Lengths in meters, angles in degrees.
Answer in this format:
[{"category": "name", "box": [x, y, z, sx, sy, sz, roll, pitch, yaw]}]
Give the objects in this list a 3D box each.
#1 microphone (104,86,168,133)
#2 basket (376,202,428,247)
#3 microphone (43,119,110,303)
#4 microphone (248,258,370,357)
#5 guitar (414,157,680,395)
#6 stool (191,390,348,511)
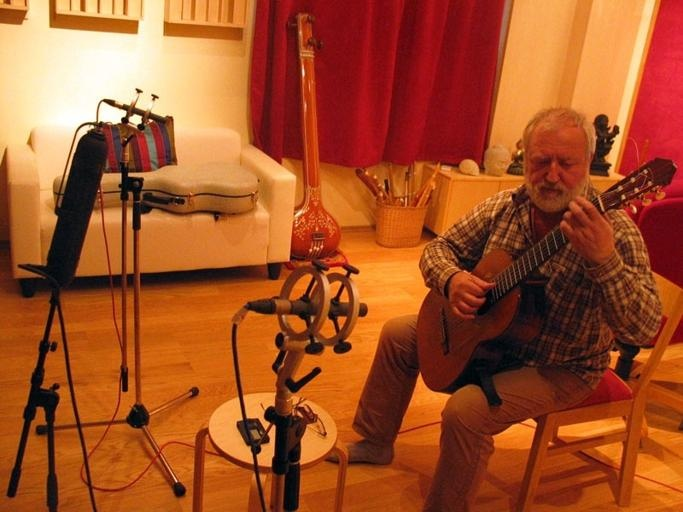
[{"category": "microphone", "box": [-0.830, -0.604, 2.473, 0.236, 0.175, 0.566, -1, 17, -17]}, {"category": "basket", "box": [0.473, -0.275, 4.787, 0.425, 0.358, 0.251, -5, 23, -29]}, {"category": "microphone", "box": [-0.841, -0.156, 1.913, 0.098, 0.491, 0.227, 12, 17, 29]}, {"category": "microphone", "box": [-0.068, 0.128, 1.600, 0.310, 0.238, 0.237, 5, -17, -25]}, {"category": "guitar", "box": [0.677, 0.077, 2.213, 0.763, 0.973, 0.364, 8, 16, 12]}, {"category": "stool", "box": [-0.275, 0.621, 2.092, 0.442, 0.548, 0.409, -2, 25, -18]}]
